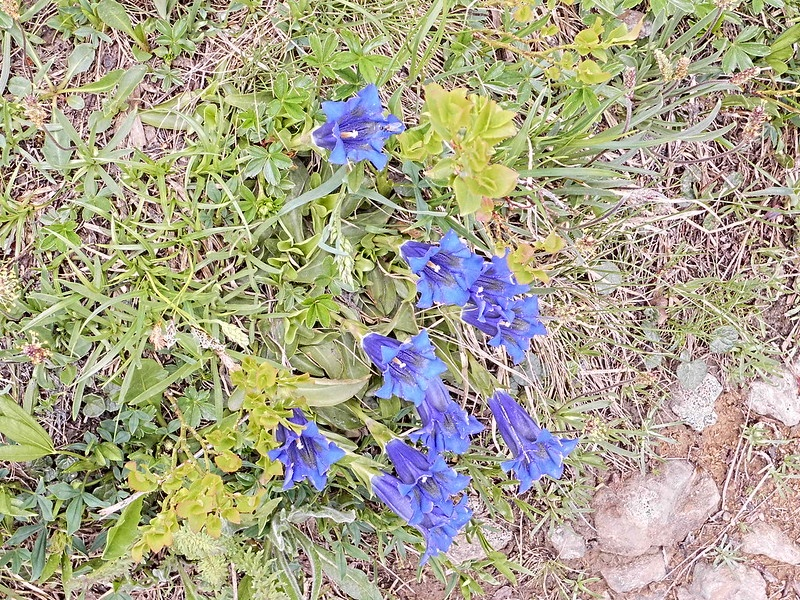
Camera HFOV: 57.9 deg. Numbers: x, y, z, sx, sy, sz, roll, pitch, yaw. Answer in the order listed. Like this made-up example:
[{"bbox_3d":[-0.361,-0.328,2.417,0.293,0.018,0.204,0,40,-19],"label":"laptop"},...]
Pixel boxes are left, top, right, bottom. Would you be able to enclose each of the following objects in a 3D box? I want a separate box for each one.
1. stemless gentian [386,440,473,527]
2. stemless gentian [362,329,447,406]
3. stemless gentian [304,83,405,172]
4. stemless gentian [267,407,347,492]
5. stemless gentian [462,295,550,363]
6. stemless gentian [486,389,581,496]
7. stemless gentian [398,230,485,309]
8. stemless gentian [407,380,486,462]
[{"bbox_3d":[0.097,0.595,2.531,0.230,0.199,0.271,-24,83,-6],"label":"stemless gentian"},{"bbox_3d":[0.002,0.259,2.617,0.281,0.536,0.245,1,82,-2],"label":"stemless gentian"},{"bbox_3d":[-0.137,-0.553,2.384,0.288,0.127,0.281,-32,101,8],"label":"stemless gentian"},{"bbox_3d":[-0.318,0.530,2.465,0.248,0.122,0.225,4,82,-2],"label":"stemless gentian"},{"bbox_3d":[0.379,0.087,2.622,0.278,0.358,0.229,-24,92,4],"label":"stemless gentian"},{"bbox_3d":[0.484,0.508,2.715,0.245,0.147,0.401,-41,68,17],"label":"stemless gentian"},{"bbox_3d":[0.150,-0.091,2.485,0.231,0.116,0.274,46,78,-9],"label":"stemless gentian"},{"bbox_3d":[0.173,0.436,2.637,0.232,0.105,0.271,-34,77,9],"label":"stemless gentian"}]
